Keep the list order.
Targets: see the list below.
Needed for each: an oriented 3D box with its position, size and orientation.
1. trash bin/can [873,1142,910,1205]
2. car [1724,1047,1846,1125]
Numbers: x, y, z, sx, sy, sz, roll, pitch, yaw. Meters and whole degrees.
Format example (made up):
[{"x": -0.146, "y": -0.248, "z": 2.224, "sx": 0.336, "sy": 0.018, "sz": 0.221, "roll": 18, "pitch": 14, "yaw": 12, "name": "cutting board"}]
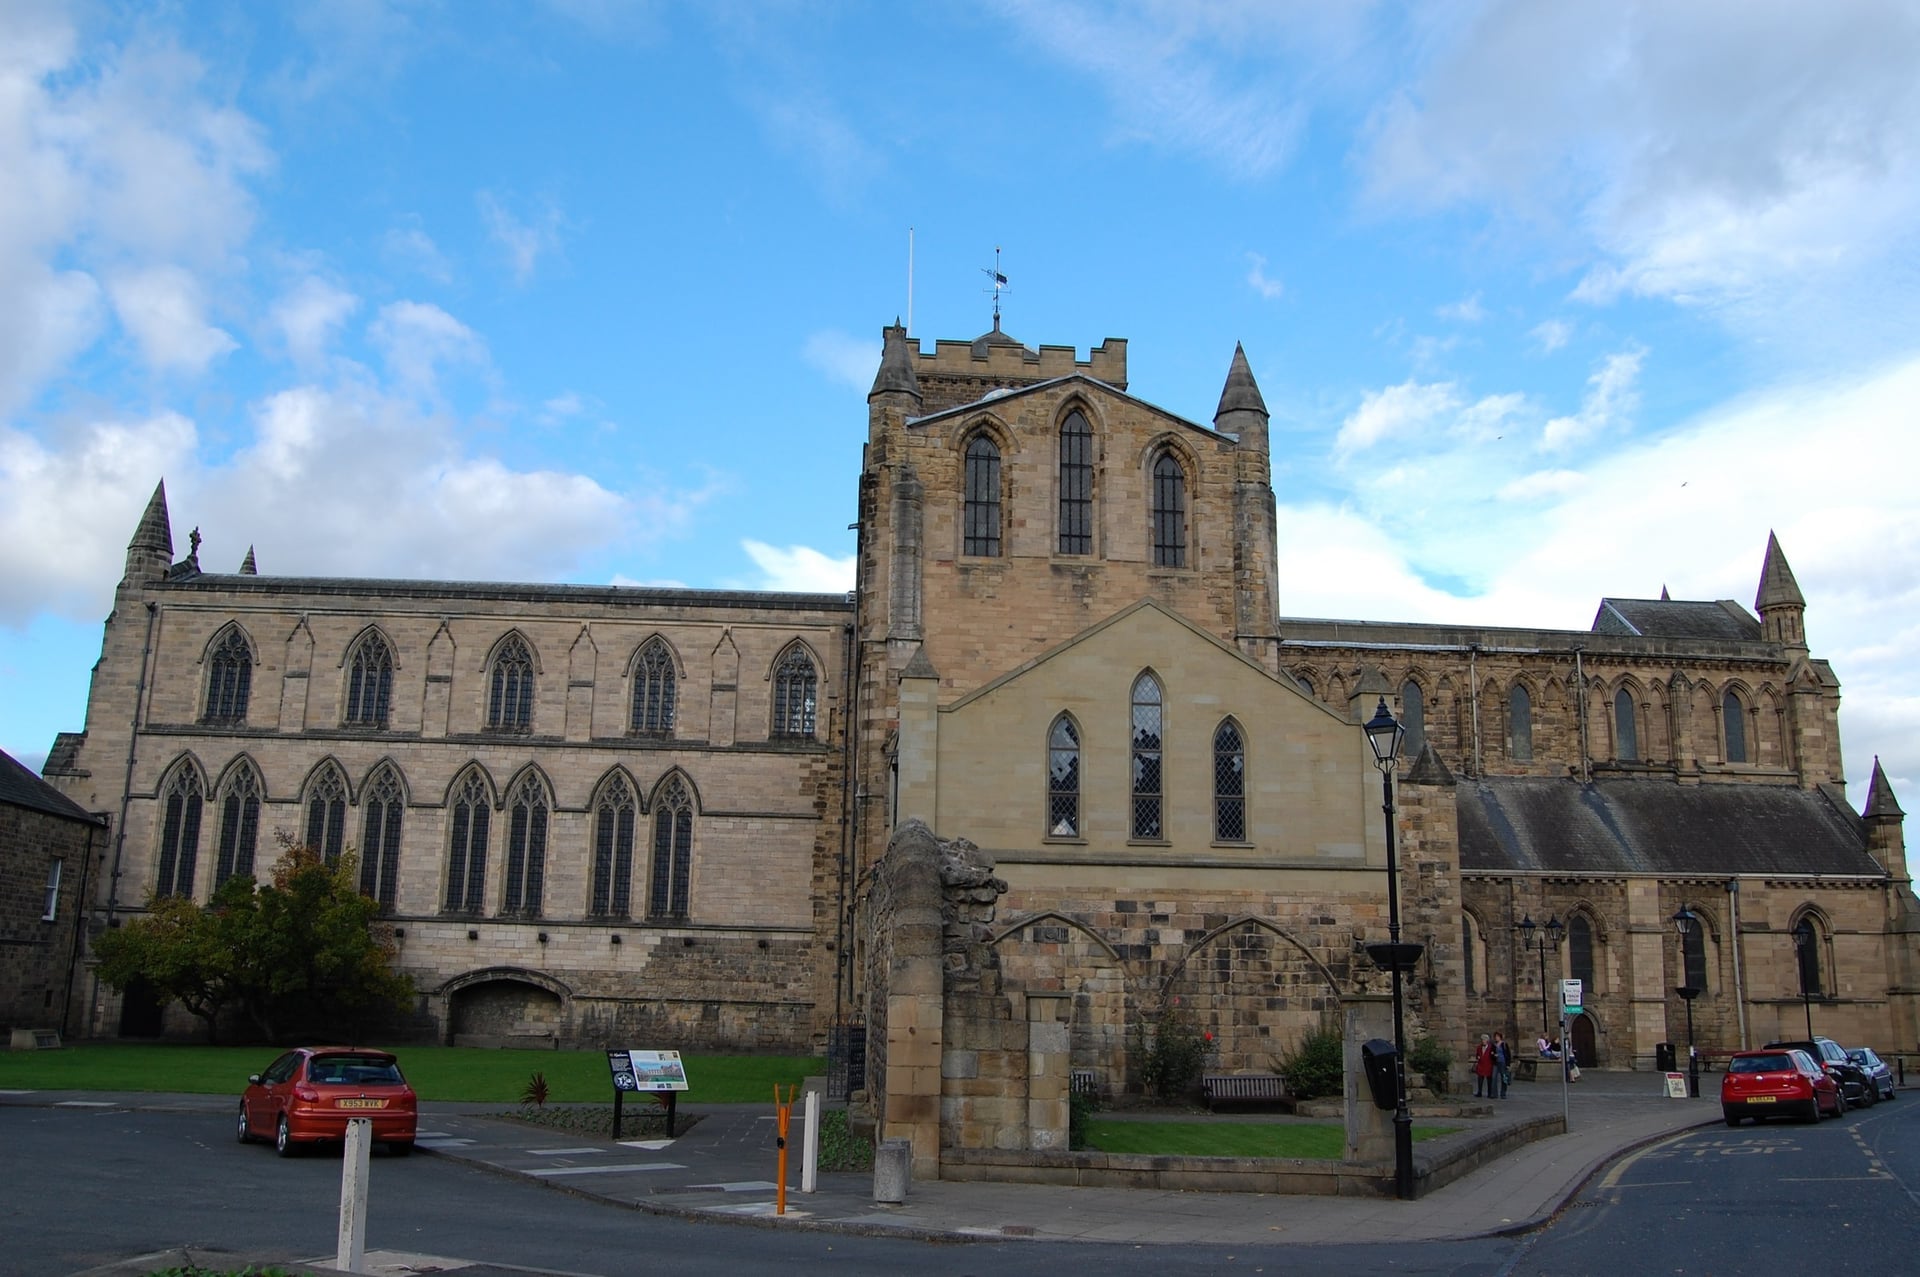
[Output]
[{"x": -1.354, "y": 9.965, "z": 31.694, "sx": 0.573, "sy": 1.148, "sz": 0.773, "roll": 2, "pitch": -17, "yaw": -10, "name": "trash bin/can"}, {"x": 21.632, "y": 11.795, "z": 44.884, "sx": 3.902, "sy": 1.898, "sz": 1.767, "roll": 14, "pitch": -22, "yaw": -42, "name": "car"}]
